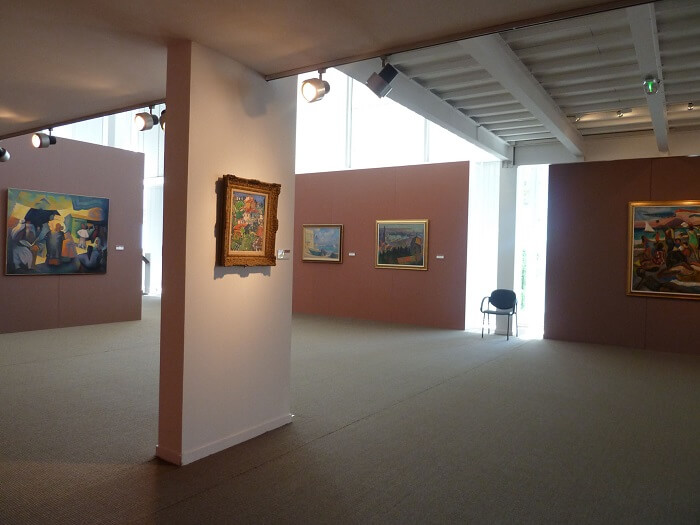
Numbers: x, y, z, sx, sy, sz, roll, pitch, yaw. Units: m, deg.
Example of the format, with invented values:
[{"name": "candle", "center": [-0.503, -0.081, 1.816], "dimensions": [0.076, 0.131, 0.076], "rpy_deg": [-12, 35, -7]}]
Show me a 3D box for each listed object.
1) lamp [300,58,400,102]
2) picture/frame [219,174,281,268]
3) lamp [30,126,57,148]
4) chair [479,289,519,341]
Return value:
[{"name": "lamp", "center": [-0.015, -1.962, 5.481], "dimensions": [0.991, 0.509, 0.798], "rpy_deg": [2, 5, 0]}, {"name": "picture/frame", "center": [-1.079, -0.438, 5.260], "dimensions": [0.131, 1.166, 0.916], "rpy_deg": [1, 1, 33]}, {"name": "lamp", "center": [-5.512, -2.234, 9.049], "dimensions": [0.325, 0.343, 0.679], "rpy_deg": [-1, 6, -35]}, {"name": "chair", "center": [3.434, 1.130, 11.490], "dimensions": [0.790, 1.093, 1.882], "rpy_deg": [3, 5, 19]}]
